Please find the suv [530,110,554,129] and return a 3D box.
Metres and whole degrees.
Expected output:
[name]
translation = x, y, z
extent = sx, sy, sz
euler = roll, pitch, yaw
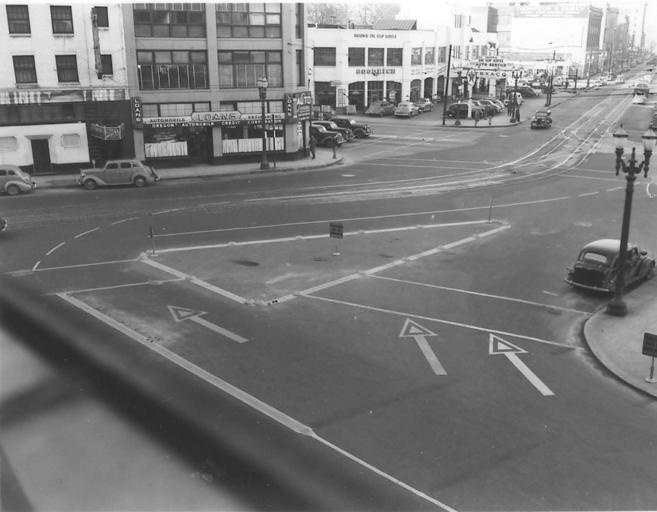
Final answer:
[suv]
translation = 22.792, -14.560, 68.680
extent = 1.416, 1.431, 2.789
euler = 7, 29, 23
